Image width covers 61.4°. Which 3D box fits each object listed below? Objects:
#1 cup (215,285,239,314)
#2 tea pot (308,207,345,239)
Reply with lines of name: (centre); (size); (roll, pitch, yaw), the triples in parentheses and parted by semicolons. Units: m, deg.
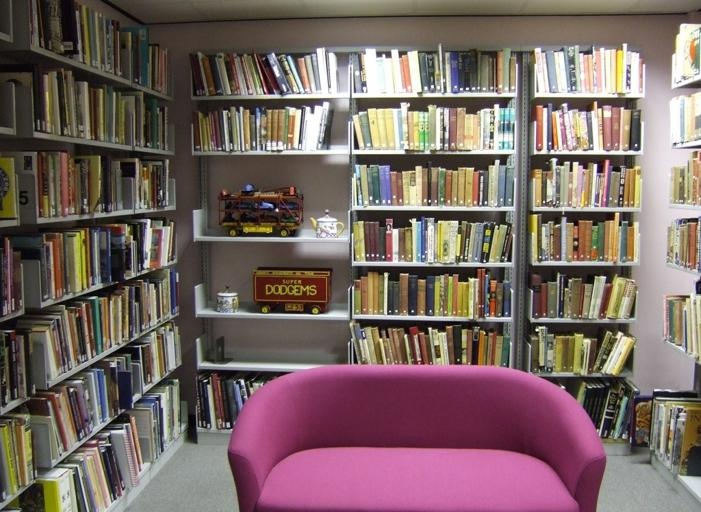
cup: (-0.920, 0.331, 4.581); (0.182, 0.215, 0.185); (1, 1, 0)
tea pot: (-0.188, -0.239, 4.473); (0.277, 0.206, 0.176); (2, 6, 7)
